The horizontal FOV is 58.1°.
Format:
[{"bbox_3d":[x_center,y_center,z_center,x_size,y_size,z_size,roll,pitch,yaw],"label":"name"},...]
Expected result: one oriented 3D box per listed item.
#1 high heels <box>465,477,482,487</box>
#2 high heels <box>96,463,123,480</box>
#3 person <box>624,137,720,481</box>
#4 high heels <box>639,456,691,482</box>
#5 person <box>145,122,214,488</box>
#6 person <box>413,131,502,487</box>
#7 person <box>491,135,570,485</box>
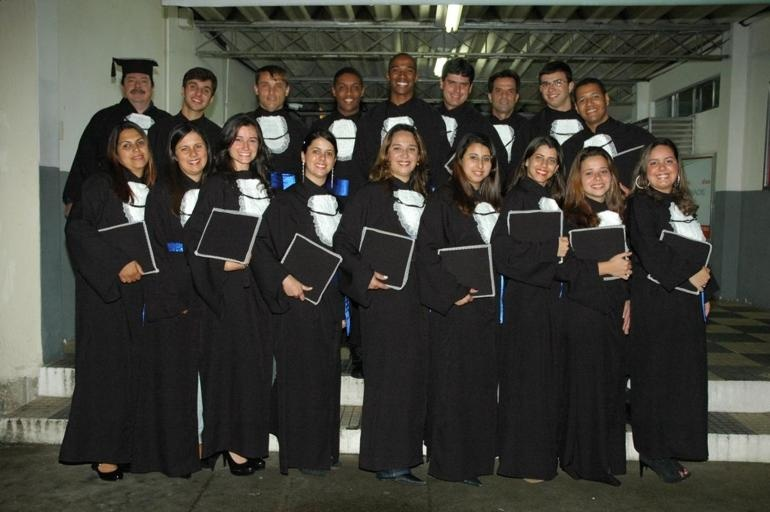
[{"bbox_3d":[0.800,2.059,6.321,0.201,0.086,0.067,0,1,8],"label":"high heels"},{"bbox_3d":[-2.532,1.971,6.356,0.216,0.120,0.073,4,17,15],"label":"high heels"},{"bbox_3d":[2.637,0.490,6.496,0.713,3.165,0.417,-1,2,20],"label":"person"},{"bbox_3d":[2.577,1.950,6.433,0.385,0.224,0.221,1,-1,24],"label":"high heels"},{"bbox_3d":[-1.870,0.388,6.308,0.583,3.200,0.257,-2,2,-14],"label":"person"},{"bbox_3d":[0.710,0.478,6.342,0.783,3.206,0.422,-2,2,-9],"label":"person"},{"bbox_3d":[1.336,0.479,6.433,0.727,3.173,0.464,-2,2,-1],"label":"person"}]
